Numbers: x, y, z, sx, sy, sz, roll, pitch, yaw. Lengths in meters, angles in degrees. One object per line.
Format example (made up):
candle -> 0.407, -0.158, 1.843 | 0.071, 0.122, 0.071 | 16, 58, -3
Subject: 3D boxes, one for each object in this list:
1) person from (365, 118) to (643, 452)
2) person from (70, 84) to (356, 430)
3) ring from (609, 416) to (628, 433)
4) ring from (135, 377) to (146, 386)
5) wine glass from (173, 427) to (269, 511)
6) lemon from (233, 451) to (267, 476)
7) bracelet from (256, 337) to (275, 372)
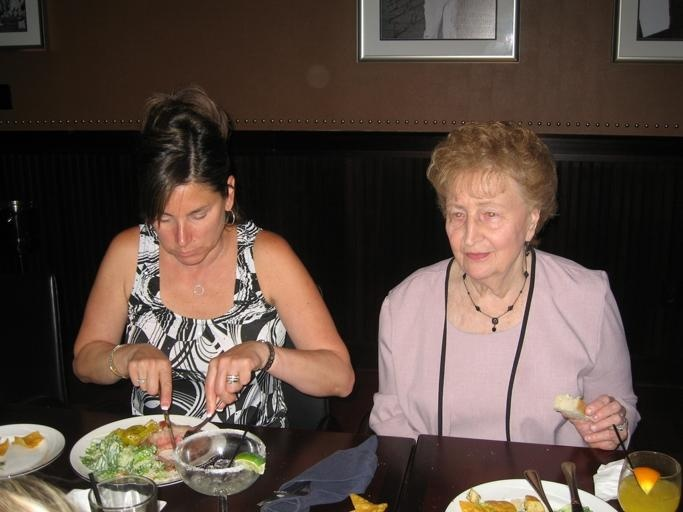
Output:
person -> 0.518, 0.179, 2.031 | 0.909, 1.220, 0.687 | 6, 25, 28
person -> -0.506, 0.020, 2.148 | 0.802, 1.243, 0.832 | -7, 8, -41
ring -> 0.797, 0.486, 1.714 | 0.037, 0.046, 0.030 | -6, 50, 17
ring -> -0.625, 0.389, 1.839 | 0.024, 0.008, 0.026 | 3, 27, 5
wine glass -> -0.313, 0.522, 1.570 | 0.174, 0.269, 0.187 | 1, 6, 1
lemon -> -0.240, 0.532, 1.514 | 0.076, 0.042, 0.054 | -2, 6, 3
bracelet -> -0.248, 0.337, 1.969 | 0.024, 0.090, 0.084 | -1, 36, -44
